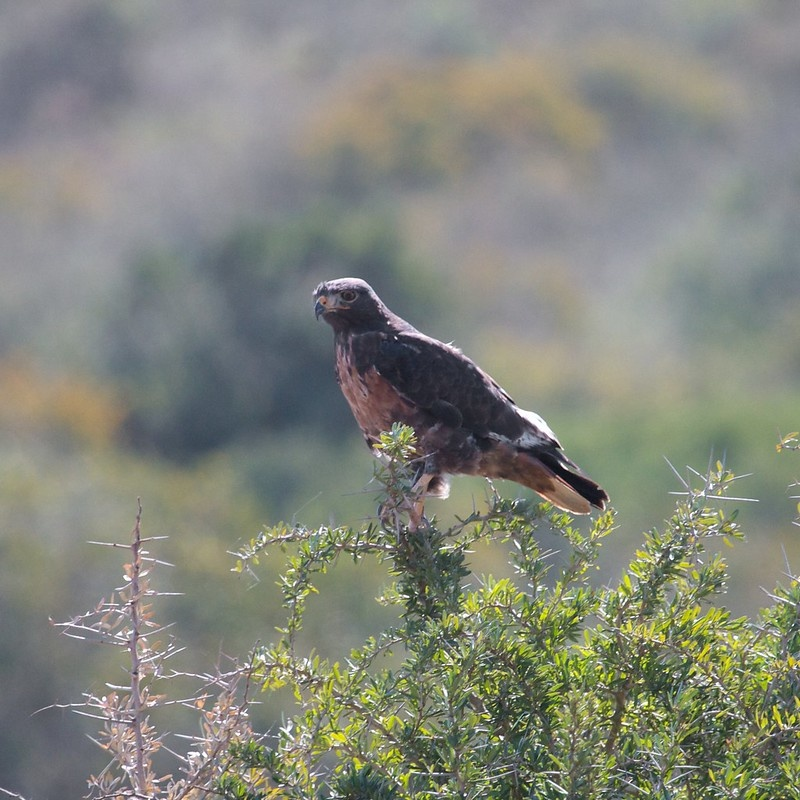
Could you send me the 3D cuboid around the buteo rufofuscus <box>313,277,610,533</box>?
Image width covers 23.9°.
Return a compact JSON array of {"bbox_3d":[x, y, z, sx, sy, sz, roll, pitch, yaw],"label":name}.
[{"bbox_3d":[0.217,0.038,7.587,1.323,0.868,0.514,10,-16,-21],"label":"buteo rufofuscus"}]
